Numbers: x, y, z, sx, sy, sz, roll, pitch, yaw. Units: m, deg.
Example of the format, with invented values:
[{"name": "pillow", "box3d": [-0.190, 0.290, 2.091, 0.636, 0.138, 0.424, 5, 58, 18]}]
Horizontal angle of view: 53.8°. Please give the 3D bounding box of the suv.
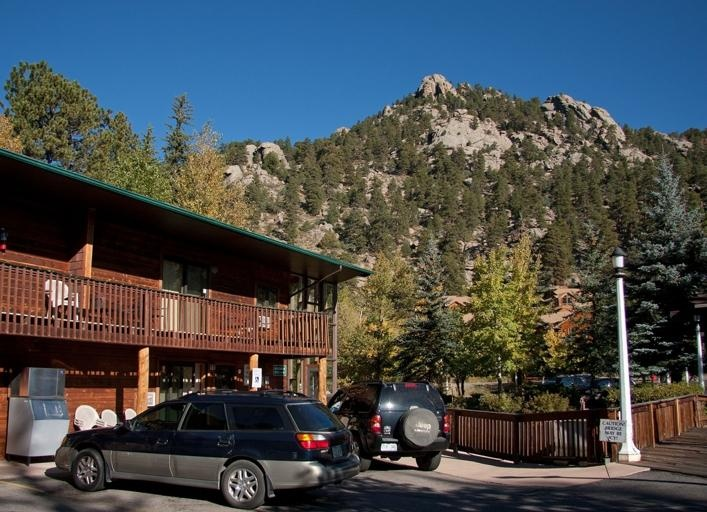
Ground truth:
[{"name": "suv", "box3d": [0.777, 4.558, 19.846, 1.851, 1.677, 3.414, 2, -5, -20]}]
